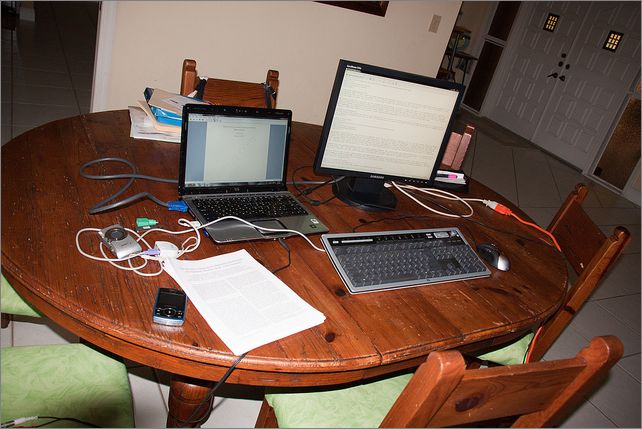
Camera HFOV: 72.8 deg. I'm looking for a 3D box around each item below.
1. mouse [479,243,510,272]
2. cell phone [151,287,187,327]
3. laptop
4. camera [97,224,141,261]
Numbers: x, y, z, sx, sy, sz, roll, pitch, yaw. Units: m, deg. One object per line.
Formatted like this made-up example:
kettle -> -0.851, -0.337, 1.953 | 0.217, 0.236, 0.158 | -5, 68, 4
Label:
mouse -> 0.662, 0.158, 1.672 | 0.075, 0.042, 0.121 | -1, 35, -40
cell phone -> -0.442, 0.266, 1.269 | 0.084, 0.031, 0.112 | 15, 36, -21
laptop -> -0.223, -0.167, 1.561 | 0.438, 0.339, 0.507 | 33, 30, 34
camera -> -0.650, 0.078, 1.394 | 0.138, 0.047, 0.081 | 38, 38, 26
